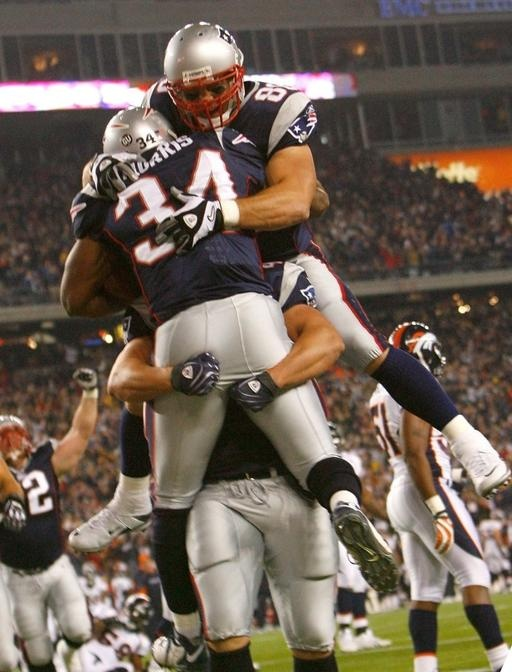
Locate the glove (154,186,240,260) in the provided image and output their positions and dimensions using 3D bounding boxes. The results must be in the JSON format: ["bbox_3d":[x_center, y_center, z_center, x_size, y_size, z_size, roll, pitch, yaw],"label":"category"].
[{"bbox_3d":[-0.160,-0.308,2.005,0.225,0.145,0.078,-20,2,-14],"label":"glove"}]

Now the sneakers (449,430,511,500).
[{"bbox_3d":[0.746,0.419,2.510,0.101,0.129,0.275,-47,23,3],"label":"sneakers"}]

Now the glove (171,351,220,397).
[{"bbox_3d":[-0.153,0.108,1.953,0.130,0.112,0.105,-8,9,-13],"label":"glove"}]

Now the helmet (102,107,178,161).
[{"bbox_3d":[-0.368,-0.667,2.430,0.242,0.178,0.184,-22,27,-32],"label":"helmet"}]

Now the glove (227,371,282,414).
[{"bbox_3d":[-0.002,0.147,1.956,0.129,0.098,0.062,-6,9,-2],"label":"glove"}]

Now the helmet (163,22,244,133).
[{"bbox_3d":[-0.159,-0.798,2.303,0.256,0.239,0.310,-12,30,3],"label":"helmet"}]

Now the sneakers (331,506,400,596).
[{"bbox_3d":[0.280,0.549,1.906,0.146,0.306,0.216,-5,9,11],"label":"sneakers"}]
